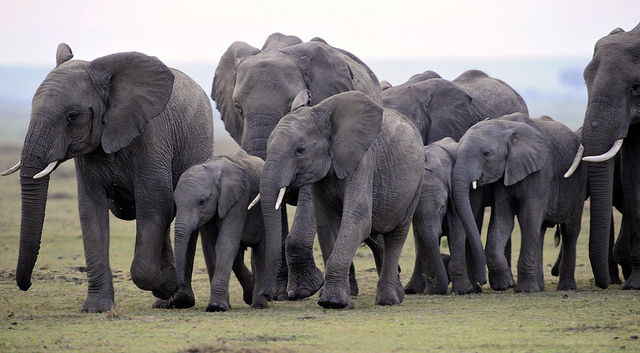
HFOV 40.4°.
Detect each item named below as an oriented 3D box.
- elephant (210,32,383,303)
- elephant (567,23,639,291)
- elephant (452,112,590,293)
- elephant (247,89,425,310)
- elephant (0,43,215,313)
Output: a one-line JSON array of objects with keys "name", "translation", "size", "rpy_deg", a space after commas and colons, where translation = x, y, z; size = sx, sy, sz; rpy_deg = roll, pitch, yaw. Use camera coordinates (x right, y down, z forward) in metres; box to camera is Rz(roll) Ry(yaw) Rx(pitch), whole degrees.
[{"name": "elephant", "translation": [-0.576, -0.210, 16.630], "size": [2.902, 4.682, 6.013], "rpy_deg": [1, 3, 15]}, {"name": "elephant", "translation": [5.212, -0.371, 15.527], "size": [1.137, 4.738, 1.094], "rpy_deg": [-2, -9, 15]}, {"name": "elephant", "translation": [3.582, 0.593, 16.345], "size": [1.798, 3.176, 4.236], "rpy_deg": [-6, -10, 40]}, {"name": "elephant", "translation": [0.247, 0.455, 14.038], "size": [2.252, 3.118, 4.098], "rpy_deg": [-2, -7, 39]}, {"name": "elephant", "translation": [-3.238, -0.008, 13.435], "size": [3.073, 4.139, 1.351], "rpy_deg": [2, -9, -18]}]
